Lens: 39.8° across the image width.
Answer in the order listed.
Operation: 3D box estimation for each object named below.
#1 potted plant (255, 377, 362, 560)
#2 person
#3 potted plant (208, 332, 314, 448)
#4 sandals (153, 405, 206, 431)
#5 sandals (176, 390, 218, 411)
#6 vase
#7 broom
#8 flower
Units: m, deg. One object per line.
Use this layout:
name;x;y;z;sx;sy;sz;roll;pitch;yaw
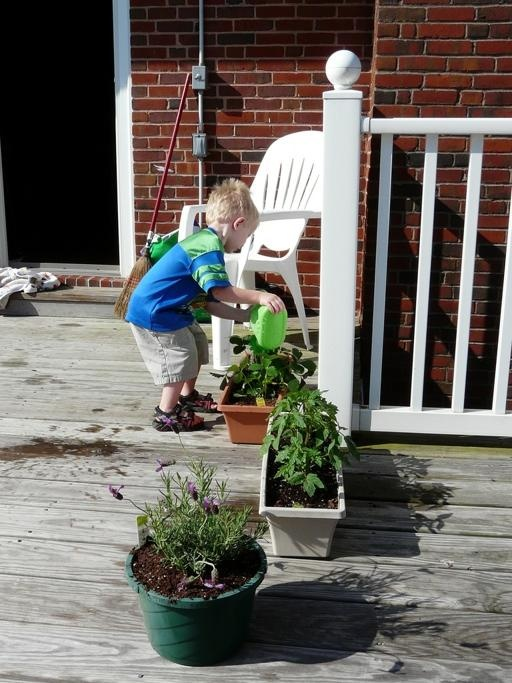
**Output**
potted plant;0.132;0.296;1.825;0.260;0.310;0.533;-2;21;0
person;-0.138;-0.130;2.447;0.602;0.822;0.432;-3;9;-30
potted plant;0.024;0.146;2.374;0.291;0.248;0.386;12;22;11
sandals;-0.267;0.260;2.469;0.173;0.075;0.081;-2;13;-14
sandals;-0.208;0.213;2.601;0.167;0.066;0.067;0;17;-16
vase;-0.115;0.512;1.334;0.263;0.201;0.186;1;11;-8
broom;-0.462;-0.632;3.302;0.167;1.226;0.239;17;25;1
flower;-0.130;0.333;1.426;0.297;0.207;0.320;8;18;-2
